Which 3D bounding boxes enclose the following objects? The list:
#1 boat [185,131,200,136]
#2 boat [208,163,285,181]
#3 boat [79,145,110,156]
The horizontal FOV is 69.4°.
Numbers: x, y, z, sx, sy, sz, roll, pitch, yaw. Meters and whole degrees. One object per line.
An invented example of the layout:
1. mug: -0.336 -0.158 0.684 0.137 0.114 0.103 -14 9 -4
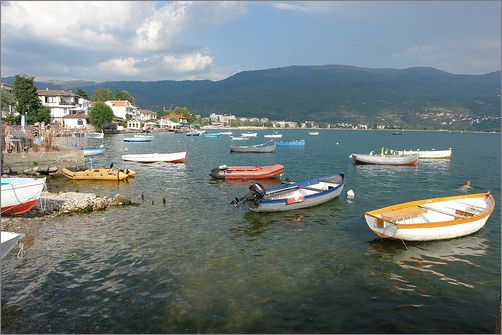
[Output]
1. boat: -24.549 -14.299 153.987 4.768 1.741 6.847 2 11 4
2. boat: -0.673 0.845 48.886 7.872 1.198 3.378 0 5 -7
3. boat: -29.909 -2.979 68.175 1.828 1.471 4.016 6 12 22
